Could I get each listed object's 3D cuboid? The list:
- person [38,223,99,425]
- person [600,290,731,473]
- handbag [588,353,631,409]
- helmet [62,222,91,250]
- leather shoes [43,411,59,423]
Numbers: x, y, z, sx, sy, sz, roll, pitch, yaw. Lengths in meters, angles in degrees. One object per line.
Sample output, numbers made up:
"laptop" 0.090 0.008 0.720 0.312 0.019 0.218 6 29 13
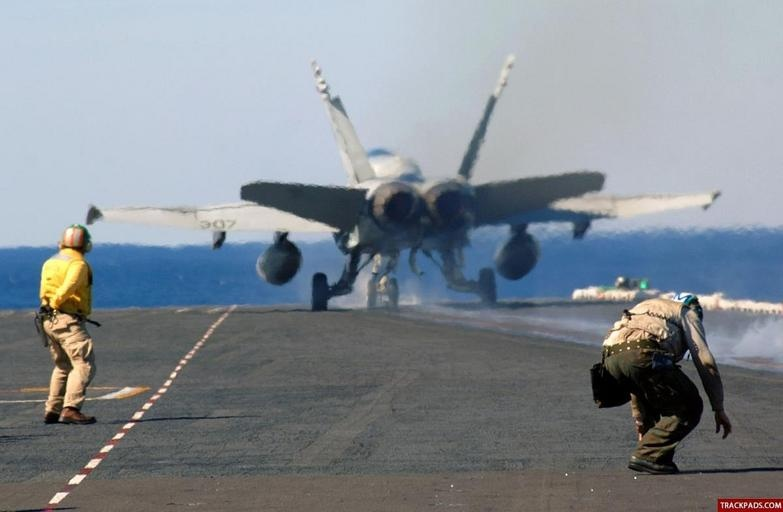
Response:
"person" -4.707 1.016 13.039 0.797 2.872 1.001 4 3 -37
"person" 3.303 1.583 11.026 1.465 2.006 0.512 6 3 11
"handbag" 2.719 1.639 11.422 0.525 0.598 0.205 -8 16 3
"helmet" -4.301 -0.213 12.214 0.339 0.365 0.426 7 13 -5
"leather shoes" -4.895 2.371 12.904 0.179 0.172 0.183 -5 -30 12
